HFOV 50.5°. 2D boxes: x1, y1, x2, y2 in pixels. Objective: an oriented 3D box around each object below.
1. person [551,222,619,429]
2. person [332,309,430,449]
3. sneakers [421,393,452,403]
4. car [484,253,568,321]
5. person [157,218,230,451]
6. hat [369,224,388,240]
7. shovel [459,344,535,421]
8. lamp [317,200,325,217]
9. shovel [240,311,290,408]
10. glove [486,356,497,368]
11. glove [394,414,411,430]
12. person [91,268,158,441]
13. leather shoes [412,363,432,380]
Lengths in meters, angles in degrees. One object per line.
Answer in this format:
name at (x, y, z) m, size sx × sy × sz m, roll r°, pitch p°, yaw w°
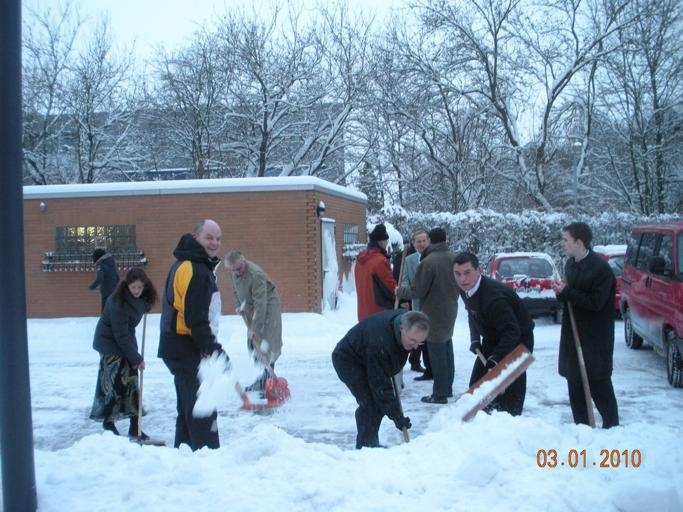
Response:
person at (2.854, 0.837, 8.418) m, size 0.723 × 2.420 × 0.482 m, roll 2°, pitch 7°, yaw 24°
person at (0.432, 1.407, 8.148) m, size 1.092 × 1.644 × 0.609 m, roll 0°, pitch 6°, yaw 5°
sneakers at (1.327, 1.965, 10.129) m, size 0.386 × 0.208 × 0.161 m, roll 5°, pitch 1°, yaw 9°
car at (3.968, 0.524, 15.819) m, size 1.200 × 1.314 × 2.724 m, roll -1°, pitch 10°, yaw 6°
person at (-1.702, 0.921, 8.198) m, size 0.699 × 2.603 × 0.654 m, roll -1°, pitch 6°, yaw -5°
hat at (0.543, -0.369, 10.661) m, size 0.209 × 0.171 × 0.212 m, roll -6°, pitch 6°, yaw 2°
shovel at (1.860, 1.524, 8.539) m, size 0.261 × 1.034 × 0.270 m, roll 38°, pitch 7°, yaw 20°
lamp at (-0.438, -1.031, 16.000) m, size 0.134 × 0.345 × 0.319 m, roll 2°, pitch 7°, yaw 22°
shovel at (-1.054, 1.642, 10.074) m, size 0.658 × 0.991 × 0.513 m, roll -2°, pitch 6°, yaw -8°
glove at (1.736, 1.216, 8.340) m, size 0.077 × 0.137 × 0.118 m, roll -4°, pitch 16°, yaw 12°
glove at (0.669, 1.836, 8.024) m, size 0.186 × 0.157 × 0.076 m, roll 32°, pitch 32°, yaw 20°
person at (-2.734, 1.230, 9.057) m, size 0.846 × 2.139 × 0.581 m, roll -2°, pitch 6°, yaw -9°
leather shoes at (1.256, 1.846, 11.262) m, size 0.326 × 0.281 × 0.134 m, roll 2°, pitch -4°, yaw 6°
